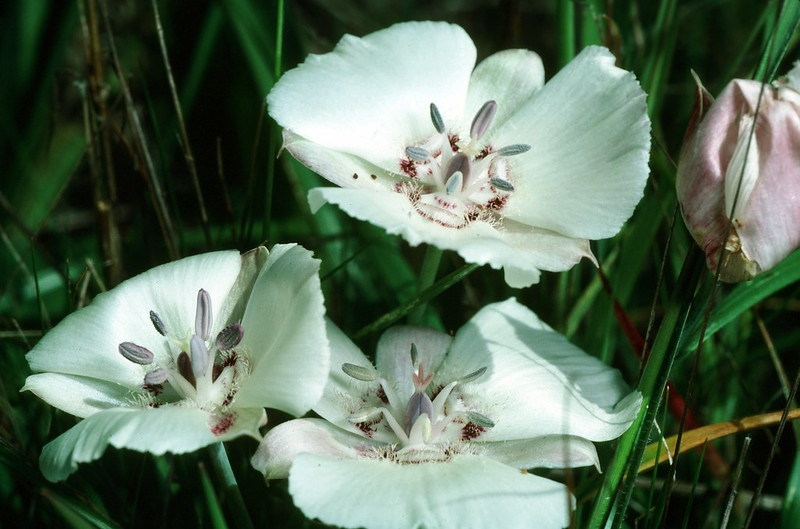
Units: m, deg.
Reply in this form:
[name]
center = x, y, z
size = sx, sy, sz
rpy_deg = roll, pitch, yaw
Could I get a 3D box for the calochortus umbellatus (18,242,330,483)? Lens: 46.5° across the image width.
[calochortus umbellatus]
center = -0.471, 0.199, 1.960
size = 0.665, 0.294, 0.394
rpy_deg = -15, 22, -7
